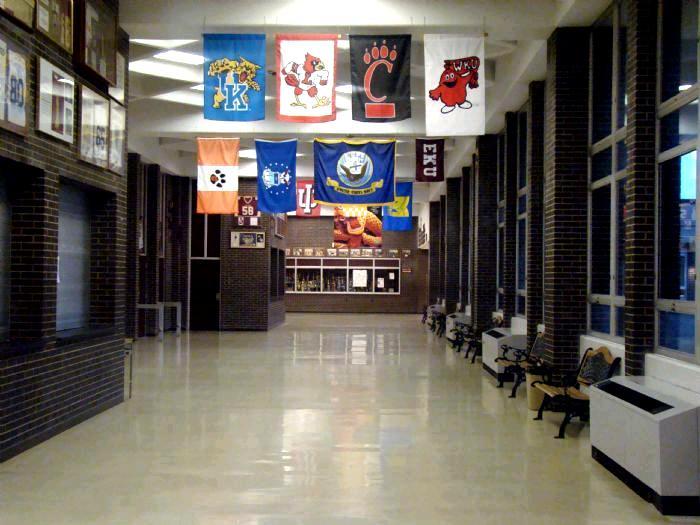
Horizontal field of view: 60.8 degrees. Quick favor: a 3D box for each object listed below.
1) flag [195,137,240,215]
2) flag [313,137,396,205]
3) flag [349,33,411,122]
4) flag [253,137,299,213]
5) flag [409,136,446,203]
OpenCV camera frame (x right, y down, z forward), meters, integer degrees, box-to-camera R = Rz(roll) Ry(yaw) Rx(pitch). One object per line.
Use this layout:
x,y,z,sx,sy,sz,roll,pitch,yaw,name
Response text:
-2.939,-1.938,13.164,0.861,1.649,0.570,0,1,-12,flag
0.072,-1.787,11.877,1.355,1.078,0.022,0,-3,0,flag
0.432,-2.672,8.673,1.257,1.691,0.076,0,0,2,flag
-1.628,-1.890,13.030,0.869,1.553,0.455,0,1,-8,flag
1.796,-2.318,13.583,0.641,0.965,0.556,0,1,4,flag
